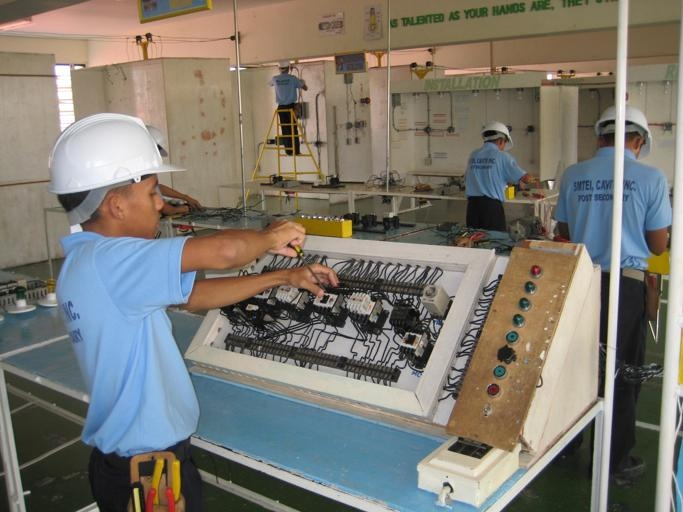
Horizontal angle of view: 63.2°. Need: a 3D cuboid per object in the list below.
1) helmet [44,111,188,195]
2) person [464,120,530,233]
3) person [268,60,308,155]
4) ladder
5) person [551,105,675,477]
[{"bbox_3d":[-0.694,-0.312,1.671,0.307,0.170,0.245,-15,20,-26],"label":"helmet"},{"bbox_3d":[1.611,-0.784,5.908,0.614,1.413,0.581,13,13,24],"label":"person"},{"bbox_3d":[-0.877,-2.554,9.311,0.701,1.971,0.661,5,15,2],"label":"person"},{"bbox_3d":[-1.223,-1.990,11.174,1.686,2.776,1.551,9,14,26],"label":"ladder"},{"bbox_3d":[1.262,0.207,3.086,0.743,2.102,0.874,1,3,21],"label":"person"}]
